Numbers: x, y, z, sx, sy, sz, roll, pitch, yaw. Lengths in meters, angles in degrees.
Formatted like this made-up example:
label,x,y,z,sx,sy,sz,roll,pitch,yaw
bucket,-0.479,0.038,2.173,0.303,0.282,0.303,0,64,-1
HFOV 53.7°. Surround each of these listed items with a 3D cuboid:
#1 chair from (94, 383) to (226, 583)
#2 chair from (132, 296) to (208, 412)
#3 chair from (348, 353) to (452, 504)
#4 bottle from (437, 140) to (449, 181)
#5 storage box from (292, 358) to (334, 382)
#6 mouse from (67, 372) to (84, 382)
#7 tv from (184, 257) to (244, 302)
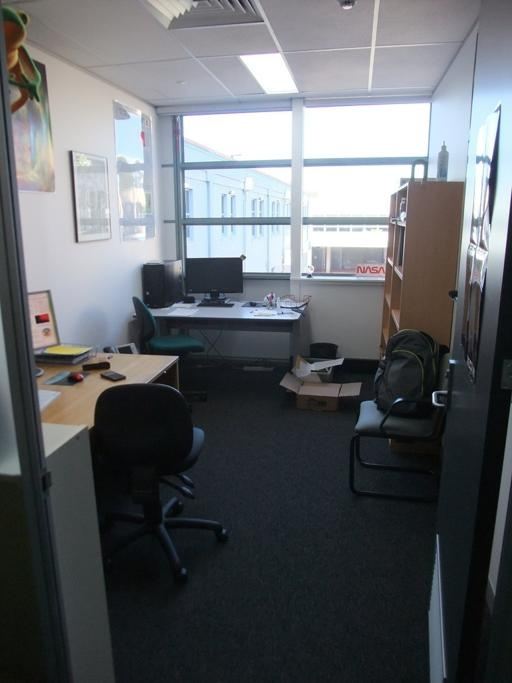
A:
label,x,y,z,sx,sy,sz,roll,pitch,yaw
chair,-0.436,0.546,2.279,0.547,0.906,0.608,-3,17,-16
chair,-0.777,0.107,4.599,0.565,1.132,0.613,-6,13,-17
chair,0.804,0.440,2.861,0.492,0.836,0.532,1,8,8
bottle,1.277,-1.235,3.461,0.059,0.290,0.349,3,12,18
storage box,0.486,0.254,4.353,0.214,0.117,0.230,2,18,13
mouse,-0.961,0.199,2.698,0.080,0.052,0.036,2,36,33
tv,-0.429,-0.638,5.142,0.376,0.342,0.124,1,15,5
